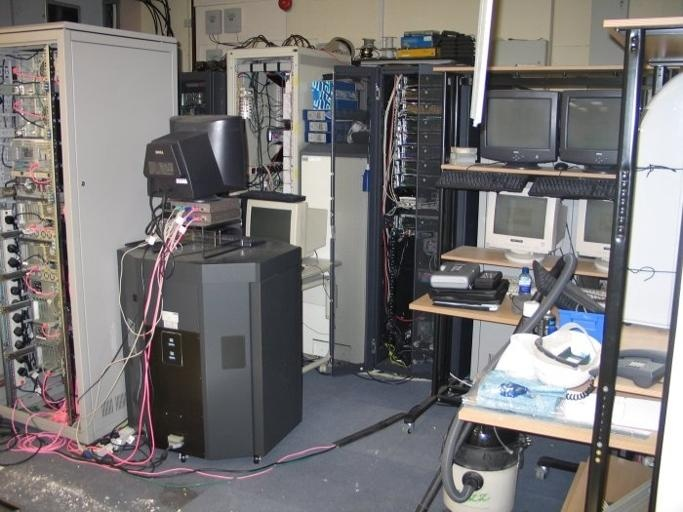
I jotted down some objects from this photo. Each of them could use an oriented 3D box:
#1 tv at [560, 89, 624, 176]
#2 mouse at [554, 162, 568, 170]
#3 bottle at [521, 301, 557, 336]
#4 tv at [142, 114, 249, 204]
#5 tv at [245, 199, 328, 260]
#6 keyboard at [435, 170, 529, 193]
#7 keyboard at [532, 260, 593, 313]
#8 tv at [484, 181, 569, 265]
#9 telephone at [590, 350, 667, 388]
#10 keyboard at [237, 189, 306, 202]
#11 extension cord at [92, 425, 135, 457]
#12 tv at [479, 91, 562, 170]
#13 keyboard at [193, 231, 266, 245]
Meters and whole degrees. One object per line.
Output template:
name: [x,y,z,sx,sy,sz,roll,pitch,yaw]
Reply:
tv: [1.614,-0.840,4.065,0.439,0.472,0.256,0,5,-2]
mouse: [1.459,-0.592,4.085,0.065,0.024,0.095,4,14,11]
bottle: [1.019,0.326,3.184,0.190,0.195,0.111,-6,26,-1]
tv: [-0.870,-0.603,3.794,0.333,0.505,0.607,10,17,37]
tv: [-0.425,-0.216,4.714,0.622,0.445,0.704,-1,9,0]
keyboard: [0.968,-0.500,4.158,0.281,0.095,0.280,-7,16,-42]
keyboard: [1.218,0.190,3.252,0.131,0.182,0.443,-7,16,-33]
tv: [1.316,-0.234,4.376,0.480,0.473,0.340,7,11,35]
telephone: [1.300,0.486,2.713,0.189,0.073,0.208,0,25,39]
keyboard: [-0.520,-0.442,4.552,0.277,0.049,0.149,5,14,21]
extension cord: [-1.448,1.188,3.938,0.278,0.076,0.174,-14,20,-42]
tv: [1.244,-0.939,4.245,0.517,0.534,0.307,9,33,26]
keyboard: [-0.748,-0.114,3.957,0.202,0.053,0.187,8,12,25]
